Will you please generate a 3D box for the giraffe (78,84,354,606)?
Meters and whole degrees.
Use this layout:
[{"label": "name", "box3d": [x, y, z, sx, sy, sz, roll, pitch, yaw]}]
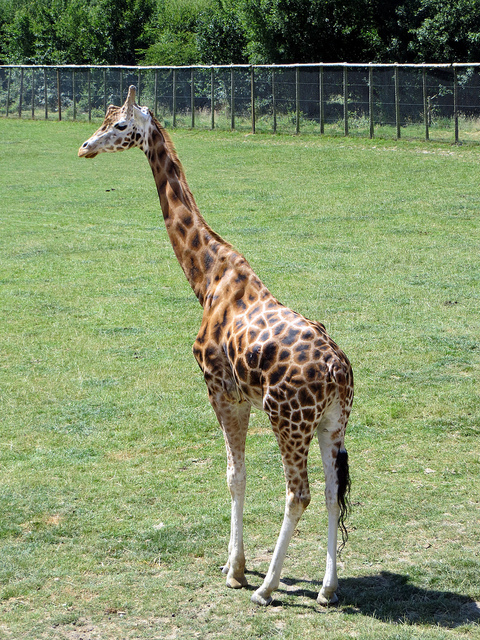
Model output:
[{"label": "giraffe", "box3d": [-0.008, 0.314, 9.808, 0.705, 3.380, 2.252, -4, 6, -29]}]
